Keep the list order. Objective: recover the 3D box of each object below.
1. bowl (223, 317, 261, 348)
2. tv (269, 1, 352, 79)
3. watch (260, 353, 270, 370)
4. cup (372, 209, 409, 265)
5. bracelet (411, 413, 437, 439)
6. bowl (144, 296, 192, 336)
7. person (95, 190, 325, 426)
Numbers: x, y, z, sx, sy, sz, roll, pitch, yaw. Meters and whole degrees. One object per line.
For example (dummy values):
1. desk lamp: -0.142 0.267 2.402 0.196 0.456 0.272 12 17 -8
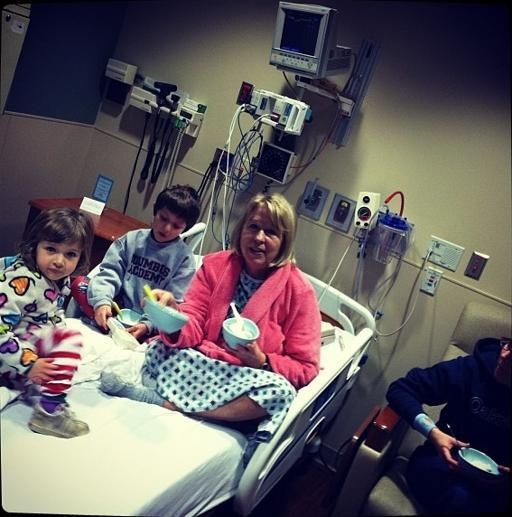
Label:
1. bowl: -0.048 0.241 1.324 0.091 0.059 0.092 8 24 -3
2. tv: 0.234 -1.007 2.050 0.341 0.405 0.384 19 24 32
3. watch: 0.031 0.350 1.375 0.031 0.051 0.017 5 -11 -41
4. cup: 0.707 -0.116 2.111 0.175 0.270 0.138 12 16 11
5. bracelet: 0.639 0.619 1.553 0.062 0.038 0.082 -10 35 -32
6. bowl: -0.267 0.176 1.242 0.118 0.048 0.122 36 -4 3
7. person: -0.099 0.082 1.627 0.643 0.907 0.731 12 7 39
